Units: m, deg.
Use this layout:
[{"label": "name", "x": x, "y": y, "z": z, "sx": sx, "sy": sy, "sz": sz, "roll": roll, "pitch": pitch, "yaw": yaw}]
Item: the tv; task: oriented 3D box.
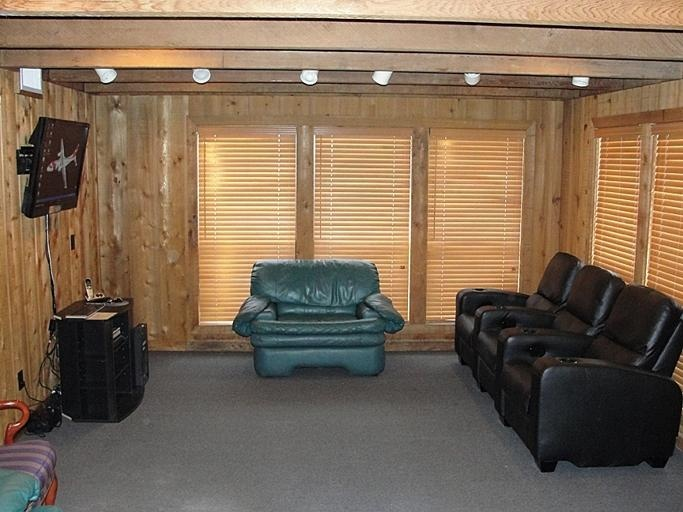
[{"label": "tv", "x": -2.497, "y": -0.768, "z": 5.113, "sx": 0.408, "sy": 0.800, "sz": 0.852, "roll": -2, "pitch": 13, "yaw": -8}]

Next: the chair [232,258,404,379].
[{"label": "chair", "x": -0.325, "y": 0.700, "z": 6.401, "sx": 2.101, "sy": 1.043, "sz": 1.129, "roll": 0, "pitch": 5, "yaw": -2}]

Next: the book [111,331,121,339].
[{"label": "book", "x": -2.044, "y": 0.708, "z": 5.326, "sx": 0.024, "sy": 0.057, "sz": 0.086, "roll": 12, "pitch": 21, "yaw": 15}]
